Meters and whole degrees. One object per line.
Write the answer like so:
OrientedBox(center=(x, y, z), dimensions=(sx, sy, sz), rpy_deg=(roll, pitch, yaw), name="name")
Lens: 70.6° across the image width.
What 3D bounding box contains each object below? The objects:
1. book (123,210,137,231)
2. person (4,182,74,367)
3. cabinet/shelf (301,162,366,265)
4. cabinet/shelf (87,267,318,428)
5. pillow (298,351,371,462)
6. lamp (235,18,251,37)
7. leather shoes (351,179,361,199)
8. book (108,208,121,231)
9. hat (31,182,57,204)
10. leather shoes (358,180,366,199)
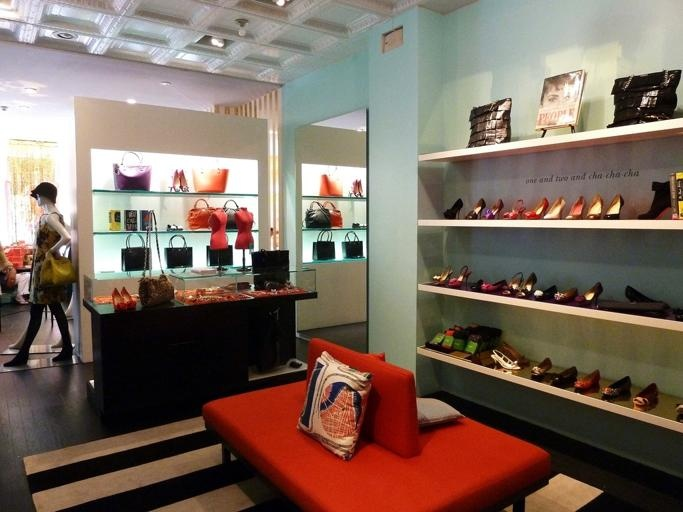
OrientedBox(center=(-2.614, -0.443, 5.951), dimensions=(0.205, 0.300, 0.202), rpy_deg=(0, 4, -33), name="book")
OrientedBox(center=(-3.451, 0.228, 5.597), dimensions=(0.766, 2.135, 0.613), rpy_deg=(2, 9, 13), name="person")
OrientedBox(center=(-0.075, -0.530, 6.195), dimensions=(0.401, 1.242, 1.249), rpy_deg=(-2, 3, -37), name="cabinet/shelf")
OrientedBox(center=(-1.618, 0.522, 4.821), dimensions=(2.221, 1.477, 1.250), rpy_deg=(-4, 9, -35), name="cabinet/shelf")
OrientedBox(center=(-0.032, 0.963, 3.027), dimensions=(0.172, 0.473, 0.441), rpy_deg=(18, -2, -39), name="pillow")
OrientedBox(center=(-1.088, -2.502, 5.280), dimensions=(0.128, 0.154, 0.135), rpy_deg=(0, 5, 2), name="lamp")
OrientedBox(center=(0.175, -0.828, 5.916), dimensions=(0.071, 0.253, 0.093), rpy_deg=(-1, -10, 8), name="leather shoes")
OrientedBox(center=(-2.781, -0.427, 5.915), dimensions=(0.131, 0.243, 0.076), rpy_deg=(-2, 9, -16), name="book")
OrientedBox(center=(-3.512, -0.751, 5.614), dimensions=(0.296, 0.196, 0.210), rpy_deg=(17, 7, -11), name="hat")
OrientedBox(center=(0.232, -0.797, 5.809), dimensions=(0.066, 0.230, 0.090), rpy_deg=(-7, -4, -11), name="leather shoes")
